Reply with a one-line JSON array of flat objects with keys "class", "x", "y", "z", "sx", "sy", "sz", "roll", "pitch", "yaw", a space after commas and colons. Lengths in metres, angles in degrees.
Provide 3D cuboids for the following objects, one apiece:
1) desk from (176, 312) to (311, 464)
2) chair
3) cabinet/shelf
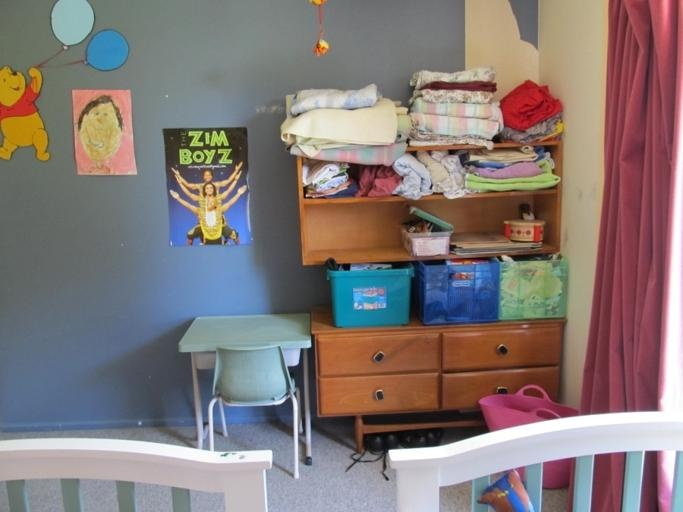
[{"class": "desk", "x": -0.505, "y": 0.814, "z": 3.689, "sx": 0.647, "sy": 0.833, "sz": 0.660, "roll": -7, "pitch": 16, "yaw": -26}, {"class": "chair", "x": -0.501, "y": 0.853, "z": 3.525, "sx": 0.514, "sy": 0.797, "sz": 0.346, "roll": -7, "pitch": 8, "yaw": -14}, {"class": "cabinet/shelf", "x": 0.537, "y": 0.220, "z": 3.556, "sx": 1.700, "sy": 2.203, "sz": 0.697, "roll": -1, "pitch": 4, "yaw": -1}]
